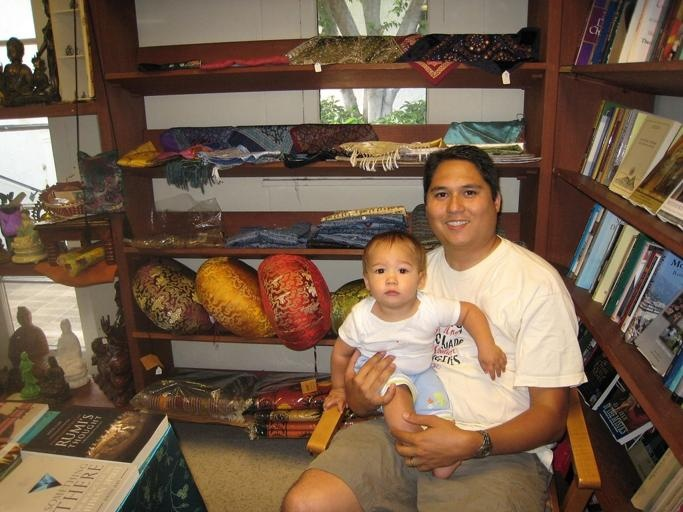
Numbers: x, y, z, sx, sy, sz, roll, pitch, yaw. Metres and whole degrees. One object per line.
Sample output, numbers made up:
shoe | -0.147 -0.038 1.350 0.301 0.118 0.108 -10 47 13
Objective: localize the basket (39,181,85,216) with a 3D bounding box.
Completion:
basket | -1.804 -0.354 3.131 0.279 0.256 0.098 -6 -6 -1

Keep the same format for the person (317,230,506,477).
person | 0.312 0.396 2.032 0.691 0.872 0.720 -7 8 -27

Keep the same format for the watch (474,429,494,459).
watch | 0.547 0.722 1.844 0.048 0.081 0.075 0 34 -16
